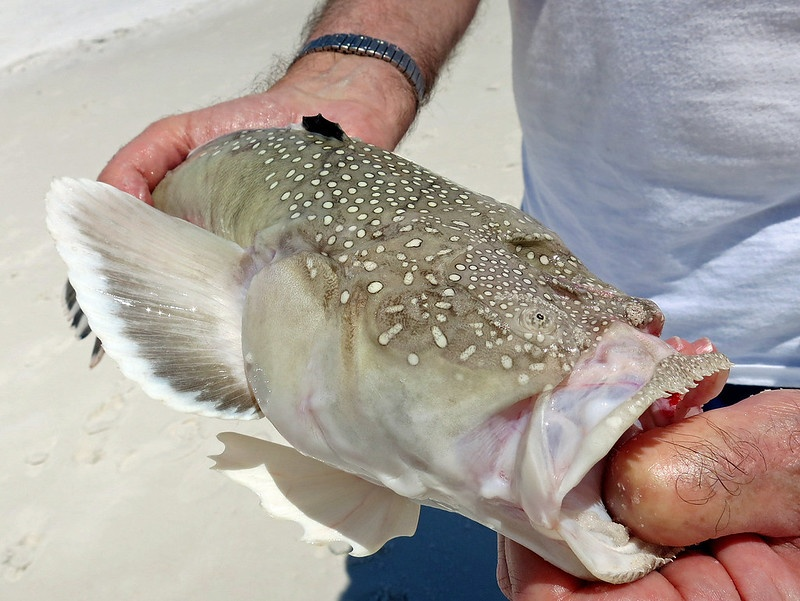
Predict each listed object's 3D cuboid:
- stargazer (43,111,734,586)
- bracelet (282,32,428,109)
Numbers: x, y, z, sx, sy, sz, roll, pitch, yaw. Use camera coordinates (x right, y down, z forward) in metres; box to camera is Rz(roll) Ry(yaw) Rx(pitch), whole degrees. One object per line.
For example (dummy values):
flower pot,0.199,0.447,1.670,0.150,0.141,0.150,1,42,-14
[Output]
stargazer,-0.183,0.044,3.356,2.316,1.002,1.332,19,38,31
bracelet,-0.144,-0.940,3.926,0.437,0.357,0.075,20,79,-12
